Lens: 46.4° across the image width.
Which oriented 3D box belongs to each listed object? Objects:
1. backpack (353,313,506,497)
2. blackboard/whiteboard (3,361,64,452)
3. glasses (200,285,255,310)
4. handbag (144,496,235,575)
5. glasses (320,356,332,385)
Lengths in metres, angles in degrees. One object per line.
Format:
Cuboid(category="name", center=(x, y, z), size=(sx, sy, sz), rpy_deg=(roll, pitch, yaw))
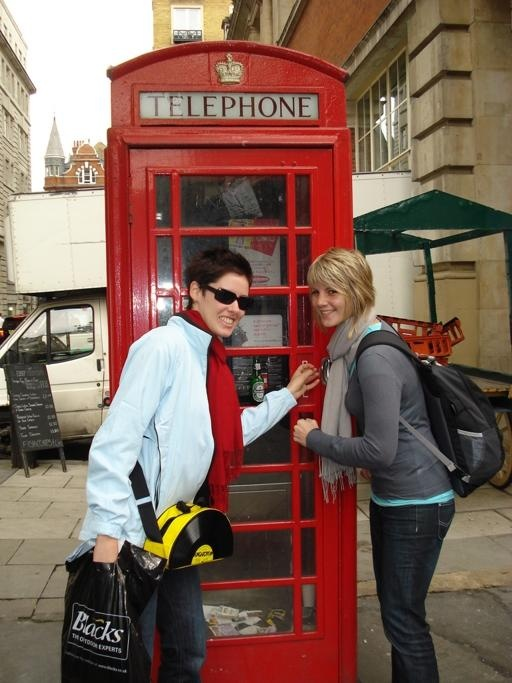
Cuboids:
Cuboid(category="backpack", center=(0.515, 0.249, 2.351), size=(0.650, 0.685, 0.455), rpy_deg=(-2, -1, 1))
Cuboid(category="blackboard/whiteboard", center=(-2.676, 0.796, 7.159), size=(0.552, 1.051, 0.519), rpy_deg=(-5, 5, -24))
Cuboid(category="glasses", center=(-0.083, -0.163, 1.923), size=(0.099, 0.035, 0.101), rpy_deg=(21, -1, -35))
Cuboid(category="handbag", center=(-0.195, 0.570, 1.799), size=(0.246, 0.164, 0.125), rpy_deg=(11, -7, -44))
Cuboid(category="glasses", center=(0.274, 0.123, 2.393), size=(0.060, 0.085, 0.025), rpy_deg=(-1, 10, -44))
